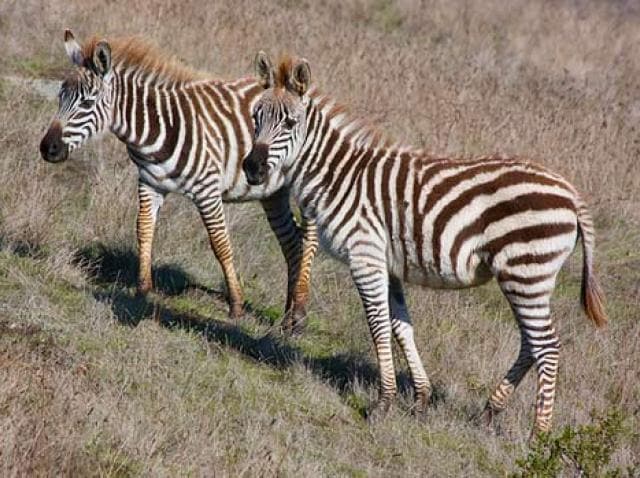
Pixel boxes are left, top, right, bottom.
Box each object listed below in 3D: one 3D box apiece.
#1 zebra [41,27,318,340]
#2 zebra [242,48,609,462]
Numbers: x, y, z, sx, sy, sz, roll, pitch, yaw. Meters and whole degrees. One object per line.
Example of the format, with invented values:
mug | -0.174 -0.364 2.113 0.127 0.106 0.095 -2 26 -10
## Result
zebra | -1.669 -0.903 13.254 4.447 4.041 1.421 -1 21 -33
zebra | 1.164 -0.136 11.063 4.358 2.466 1.028 24 -9 5
